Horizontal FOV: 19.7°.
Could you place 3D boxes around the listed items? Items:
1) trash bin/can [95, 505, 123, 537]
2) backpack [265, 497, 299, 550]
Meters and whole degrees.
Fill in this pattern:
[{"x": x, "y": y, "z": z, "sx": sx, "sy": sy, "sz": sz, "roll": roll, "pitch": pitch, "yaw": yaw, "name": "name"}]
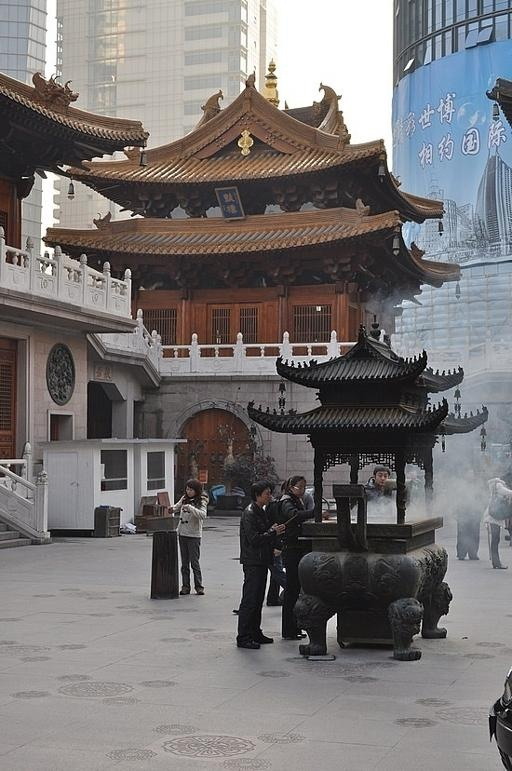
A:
[{"x": -2.589, "y": 2.393, "z": 26.189, "sx": 0.402, "sy": 0.660, "sz": 0.651, "roll": -3, "pitch": -3, "yaw": 13, "name": "trash bin/can"}, {"x": 0.310, "y": 1.347, "z": 15.356, "sx": 0.244, "sy": 0.518, "sz": 0.375, "roll": -3, "pitch": 3, "yaw": 3, "name": "backpack"}]
